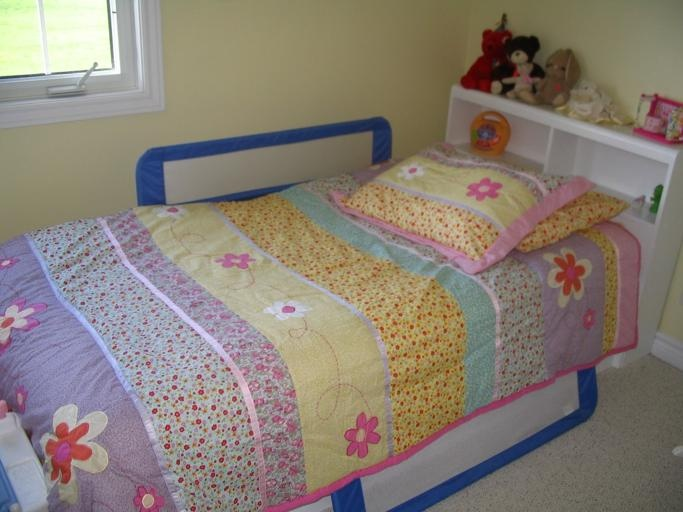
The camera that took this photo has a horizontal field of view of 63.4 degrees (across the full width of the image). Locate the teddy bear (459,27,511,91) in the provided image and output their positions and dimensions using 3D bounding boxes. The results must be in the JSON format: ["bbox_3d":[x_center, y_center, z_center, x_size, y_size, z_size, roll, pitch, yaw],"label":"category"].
[{"bbox_3d":[0.776,-1.041,2.933,0.200,0.315,0.225,20,31,35],"label":"teddy bear"}]

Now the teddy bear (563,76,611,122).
[{"bbox_3d":[1.164,-0.751,2.624,0.183,0.148,0.320,8,28,10],"label":"teddy bear"}]

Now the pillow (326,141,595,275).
[{"bbox_3d":[0.410,-0.242,2.326,0.621,0.169,0.700,-35,37,-30],"label":"pillow"}]

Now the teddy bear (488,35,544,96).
[{"bbox_3d":[0.897,-0.985,2.832,0.169,0.290,0.265,-25,30,-38],"label":"teddy bear"}]

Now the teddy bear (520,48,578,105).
[{"bbox_3d":[1.040,-0.883,2.710,0.217,0.279,0.206,-27,40,-37],"label":"teddy bear"}]
